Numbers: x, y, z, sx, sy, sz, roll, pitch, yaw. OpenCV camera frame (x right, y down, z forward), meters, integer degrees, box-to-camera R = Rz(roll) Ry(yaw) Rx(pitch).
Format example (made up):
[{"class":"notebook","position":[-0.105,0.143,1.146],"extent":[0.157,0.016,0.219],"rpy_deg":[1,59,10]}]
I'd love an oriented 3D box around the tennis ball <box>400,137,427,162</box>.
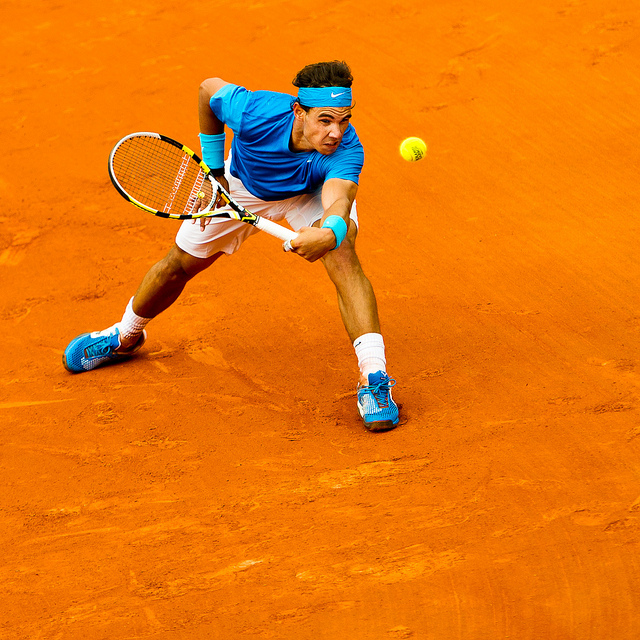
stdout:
[{"class":"tennis ball","position":[0.662,-1.156,6.449],"extent":[0.219,0.187,0.202],"rpy_deg":[0,10,0]}]
